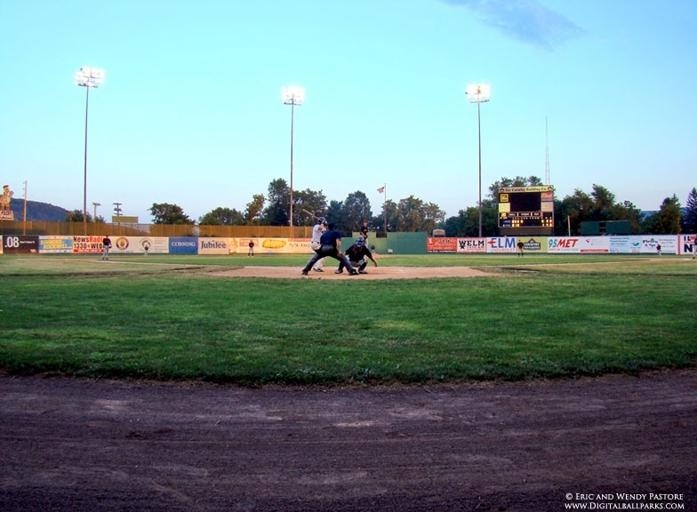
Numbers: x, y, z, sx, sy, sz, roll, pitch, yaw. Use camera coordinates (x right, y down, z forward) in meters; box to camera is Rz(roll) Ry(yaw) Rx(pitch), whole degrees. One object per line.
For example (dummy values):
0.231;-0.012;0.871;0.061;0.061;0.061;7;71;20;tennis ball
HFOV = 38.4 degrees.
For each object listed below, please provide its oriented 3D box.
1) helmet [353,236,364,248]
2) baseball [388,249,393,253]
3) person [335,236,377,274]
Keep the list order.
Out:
0.345;-0.458;30.212;0.230;0.322;0.308;3;-2;4;helmet
3.042;-0.338;70.914;0.195;0.278;0.106;-2;7;1;baseball
0.301;0.008;30.260;1.093;1.160;0.611;7;13;-4;person
